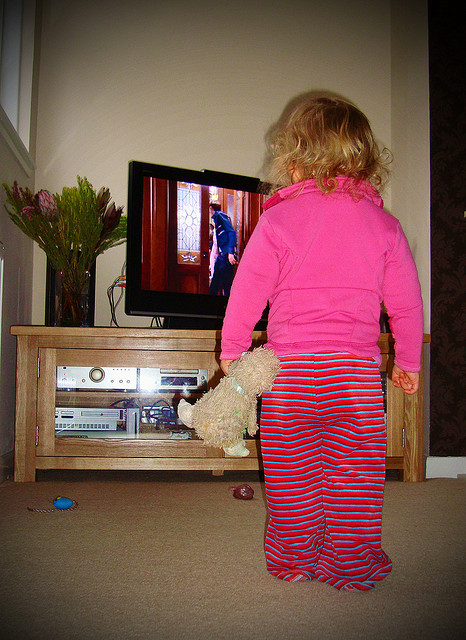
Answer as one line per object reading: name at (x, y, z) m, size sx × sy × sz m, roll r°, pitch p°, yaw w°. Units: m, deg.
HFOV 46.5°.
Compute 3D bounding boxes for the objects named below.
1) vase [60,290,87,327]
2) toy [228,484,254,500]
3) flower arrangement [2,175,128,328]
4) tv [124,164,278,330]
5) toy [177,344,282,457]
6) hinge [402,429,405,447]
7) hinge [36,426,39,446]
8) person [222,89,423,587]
vase at (-0.630, -0.045, 2.244) m, size 0.126 × 0.182 × 0.126 m, roll 1°, pitch 4°, yaw -7°
toy at (0.031, 0.602, 1.893) m, size 0.076 × 0.042 × 0.056 m, roll 1°, pitch -3°, yaw 13°
flower arrangement at (-0.670, -0.270, 2.178) m, size 0.482 × 0.599 × 0.247 m, roll 3°, pitch -4°, yaw -23°
tv at (-0.139, -0.262, 1.983) m, size 0.737 × 0.746 × 0.131 m, roll 1°, pitch 4°, yaw -20°
toy at (0.011, 0.189, 1.241) m, size 0.174 × 0.256 × 0.188 m, roll 10°, pitch -13°, yaw 40°
hinge at (0.669, 0.471, 2.136) m, size 0.010 × 0.063 × 0.011 m, roll 1°, pitch -4°, yaw 10°
hinge at (-0.704, 0.421, 1.955) m, size 0.009 × 0.063 × 0.004 m, roll 3°, pitch -4°, yaw -19°
person at (0.219, 0.027, 1.256) m, size 0.487 × 1.125 × 0.235 m, roll 2°, pitch -4°, yaw -3°
